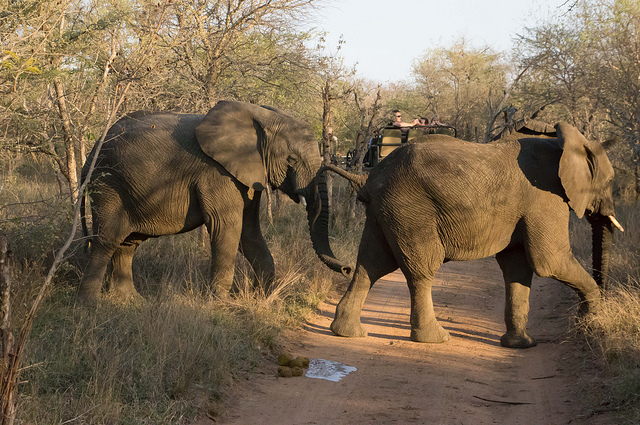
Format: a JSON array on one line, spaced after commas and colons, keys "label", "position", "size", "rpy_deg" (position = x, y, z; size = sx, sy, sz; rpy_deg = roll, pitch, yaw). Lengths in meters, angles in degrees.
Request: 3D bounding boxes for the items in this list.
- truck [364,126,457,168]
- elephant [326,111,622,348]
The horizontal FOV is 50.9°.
[{"label": "truck", "position": [2.307, -1.919, 17.439], "size": [1.624, 0.906, 1.189], "rpy_deg": [0, 17, -23]}, {"label": "elephant", "position": [2.303, 0.262, 10.473], "size": [4.057, 2.871, 2.289], "rpy_deg": [5, -1, -1]}]
